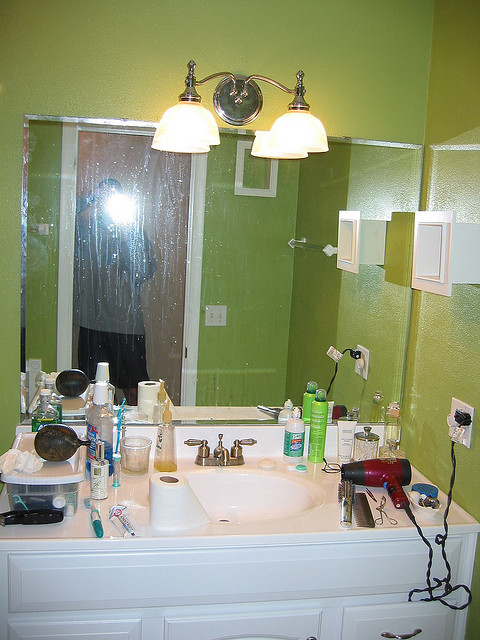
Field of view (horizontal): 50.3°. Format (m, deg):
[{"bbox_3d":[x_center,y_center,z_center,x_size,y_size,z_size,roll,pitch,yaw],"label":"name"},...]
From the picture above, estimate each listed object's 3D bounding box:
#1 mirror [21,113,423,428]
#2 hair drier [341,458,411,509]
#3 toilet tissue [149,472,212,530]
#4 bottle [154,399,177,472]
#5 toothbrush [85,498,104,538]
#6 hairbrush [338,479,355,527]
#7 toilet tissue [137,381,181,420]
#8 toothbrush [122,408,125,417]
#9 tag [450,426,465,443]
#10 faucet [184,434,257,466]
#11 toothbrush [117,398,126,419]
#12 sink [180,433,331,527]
[{"bbox_3d":[-0.090,-0.162,1.475,0.736,0.707,0.027,1,5,-12],"label":"mirror"},{"bbox_3d":[0.361,0.416,1.362,0.180,0.081,0.218,8,9,21],"label":"hair drier"},{"bbox_3d":[-0.138,0.386,1.149,0.129,0.095,0.164,3,8,-11],"label":"toilet tissue"},{"bbox_3d":[-0.198,0.312,1.364,0.055,0.184,0.062,2,-6,8],"label":"bottle"},{"bbox_3d":[-0.318,0.404,1.119,0.027,0.020,0.219,-2,5,-10],"label":"toothbrush"},{"bbox_3d":[0.249,0.425,1.198,0.024,0.103,0.096,3,-22,6],"label":"hairbrush"},{"bbox_3d":[-0.226,0.221,1.449,0.119,0.149,0.074,7,1,-4],"label":"toilet tissue"},{"bbox_3d":[-0.340,0.269,1.483,0.005,0.026,0.007,7,-27,-10],"label":"toothbrush"},{"bbox_3d":[0.538,0.280,1.267,0.053,0.021,0.016,-41,-3,-41],"label":"tag"},{"bbox_3d":[-0.051,0.369,1.482,0.222,0.079,0.094,3,8,-12],"label":"faucet"},{"bbox_3d":[-0.340,0.254,1.471,0.010,0.054,0.016,12,-10,0],"label":"toothbrush"},{"bbox_3d":[-0.036,0.414,1.310,0.367,0.246,0.457,-2,-3,-9],"label":"sink"}]
